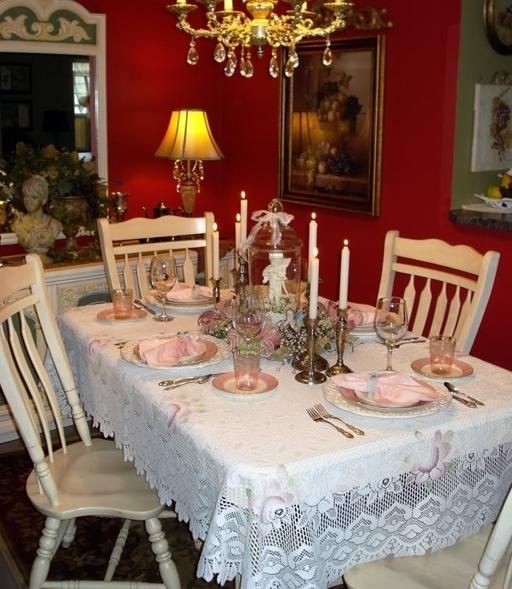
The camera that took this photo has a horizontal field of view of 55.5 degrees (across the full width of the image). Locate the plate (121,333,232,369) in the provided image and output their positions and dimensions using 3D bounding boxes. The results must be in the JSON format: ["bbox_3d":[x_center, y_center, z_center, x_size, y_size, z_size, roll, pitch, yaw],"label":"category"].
[{"bbox_3d":[-0.237,0.170,1.406,0.169,0.038,0.167,-1,18,-7],"label":"plate"}]

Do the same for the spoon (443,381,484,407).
[{"bbox_3d":[0.483,0.236,1.151,0.029,0.011,0.081,-6,16,-21],"label":"spoon"}]

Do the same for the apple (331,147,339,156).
[{"bbox_3d":[0.614,-1.129,3.859,0.061,0.067,0.060,-2,3,-40],"label":"apple"}]

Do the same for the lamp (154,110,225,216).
[{"bbox_3d":[-0.584,-1.133,4.214,0.556,0.867,0.655,-4,15,-10],"label":"lamp"}]

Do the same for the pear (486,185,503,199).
[{"bbox_3d":[1.558,-0.675,3.208,0.067,0.110,0.089,2,35,1],"label":"pear"}]

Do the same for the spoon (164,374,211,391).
[{"bbox_3d":[-0.169,0.230,1.269,0.141,0.006,0.039,-4,37,-15],"label":"spoon"}]

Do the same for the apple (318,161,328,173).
[{"bbox_3d":[0.510,-1.033,3.952,0.092,0.101,0.087,-3,21,-17],"label":"apple"}]

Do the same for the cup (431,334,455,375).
[{"bbox_3d":[0.503,0.166,1.322,0.069,0.099,0.068,-3,25,1],"label":"cup"}]

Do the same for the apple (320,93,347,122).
[{"bbox_3d":[0.607,-1.467,3.807,0.134,0.088,0.237,26,42,-19],"label":"apple"}]

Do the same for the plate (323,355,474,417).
[{"bbox_3d":[0.311,0.192,1.060,0.176,0.024,0.141,-6,14,-26],"label":"plate"}]

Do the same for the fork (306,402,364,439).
[{"bbox_3d":[0.154,0.260,0.999,0.033,0.015,0.110,-13,23,-30],"label":"fork"}]
